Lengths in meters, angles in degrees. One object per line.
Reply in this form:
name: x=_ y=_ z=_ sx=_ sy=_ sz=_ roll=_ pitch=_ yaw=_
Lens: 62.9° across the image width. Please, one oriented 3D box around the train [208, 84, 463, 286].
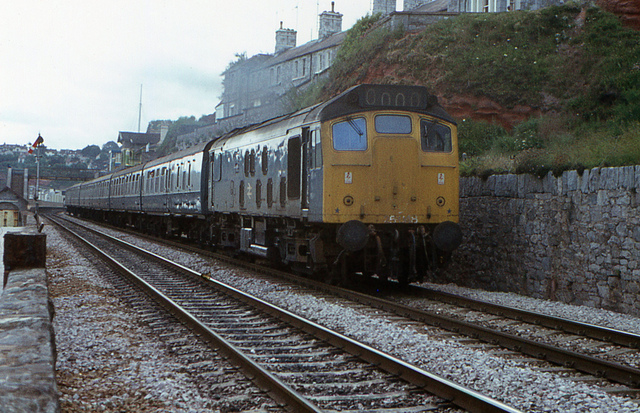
train: x=-0.047 y=-0.579 z=13.836 sx=2.720 sy=4.881 sz=7.364 roll=-6 pitch=8 yaw=-43
